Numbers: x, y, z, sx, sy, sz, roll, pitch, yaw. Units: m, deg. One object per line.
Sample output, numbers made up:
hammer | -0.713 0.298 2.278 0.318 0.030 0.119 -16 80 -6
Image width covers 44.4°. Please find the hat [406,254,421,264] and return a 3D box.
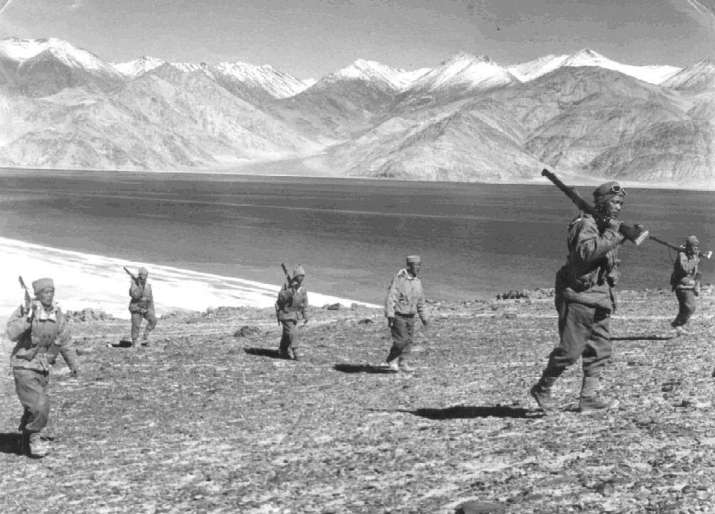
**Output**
hat | 0.982 0.021 15.287 0.179 0.101 0.175 0 3 -7

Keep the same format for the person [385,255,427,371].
person | 0.853 1.022 15.712 0.791 2.172 1.196 -3 9 3

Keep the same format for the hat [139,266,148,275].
hat | -4.813 0.276 19.684 0.160 0.159 0.197 3 17 2

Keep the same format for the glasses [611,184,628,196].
glasses | 3.597 -0.930 12.102 0.240 0.079 0.241 10 -28 5

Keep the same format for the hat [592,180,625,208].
hat | 3.527 -0.907 12.146 0.395 0.302 0.384 0 14 -29

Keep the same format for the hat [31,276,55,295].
hat | -4.486 0.402 12.476 0.276 0.247 0.338 -7 10 -23

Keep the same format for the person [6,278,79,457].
person | -4.552 1.564 12.685 0.875 2.598 0.673 -7 10 -23

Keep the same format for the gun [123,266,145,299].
gun | -5.046 0.559 20.048 0.367 0.636 0.947 -6 10 -14

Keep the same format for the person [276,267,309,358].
person | -1.309 1.030 17.495 0.626 1.894 1.340 -4 9 -4
